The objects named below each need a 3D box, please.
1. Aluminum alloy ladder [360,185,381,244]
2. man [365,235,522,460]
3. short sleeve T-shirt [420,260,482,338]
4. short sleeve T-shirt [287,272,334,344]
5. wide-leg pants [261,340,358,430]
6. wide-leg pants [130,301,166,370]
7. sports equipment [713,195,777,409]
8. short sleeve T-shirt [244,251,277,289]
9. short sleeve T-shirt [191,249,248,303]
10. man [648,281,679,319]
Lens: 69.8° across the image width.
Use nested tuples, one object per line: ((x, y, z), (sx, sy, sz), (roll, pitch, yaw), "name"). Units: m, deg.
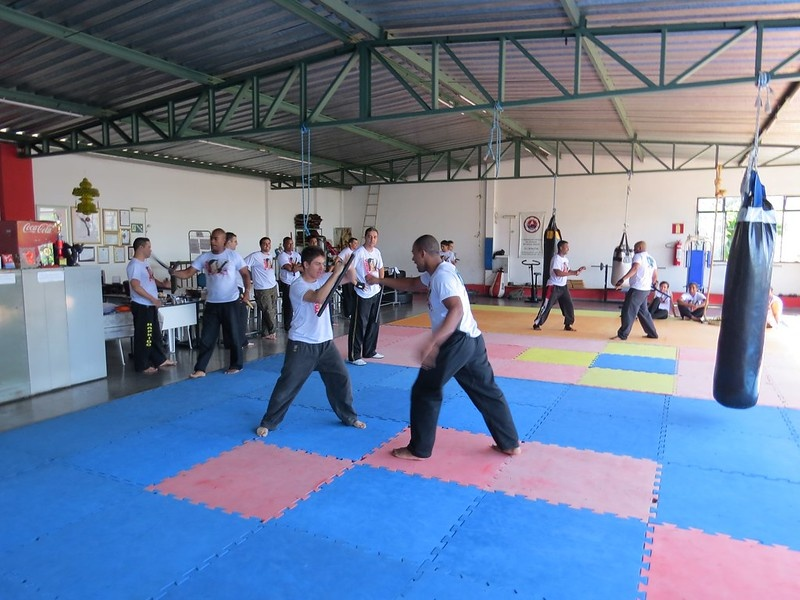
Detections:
((-1.069, -3.352, 20.818), (0.438, 1.992, 0.125), (1, -26, 8), "Aluminum alloy ladder")
((0.465, 0.508, 5.315), (0.999, 2.110, 0.785), (9, 17, 28), "man")
((0.411, 0.009, 5.307), (0.585, 0.698, 0.486), (6, 16, 22), "short sleeve T-shirt")
((-0.941, 0.105, 5.948), (0.420, 0.654, 0.354), (-1, 15, -7), "short sleeve T-shirt")
((-1.024, 1.012, 6.496), (1.009, 0.856, 0.410), (3, -2, -32), "wide-leg pants")
((-3.634, 0.453, 8.305), (0.319, 1.199, 0.468), (10, 15, 20), "wide-leg pants")
((3.228, 0.103, 5.393), (0.413, 1.941, 0.353), (7, 16, 23), "sports equipment")
((-2.488, -0.557, 10.447), (0.401, 0.667, 0.720), (6, 8, 28), "short sleeve T-shirt")
((-2.492, -0.344, 7.881), (0.775, 0.725, 0.404), (-2, 15, -11), "short sleeve T-shirt")
((5.934, -0.044, 13.022), (0.600, 0.827, 0.713), (-6, -22, 30), "man")
